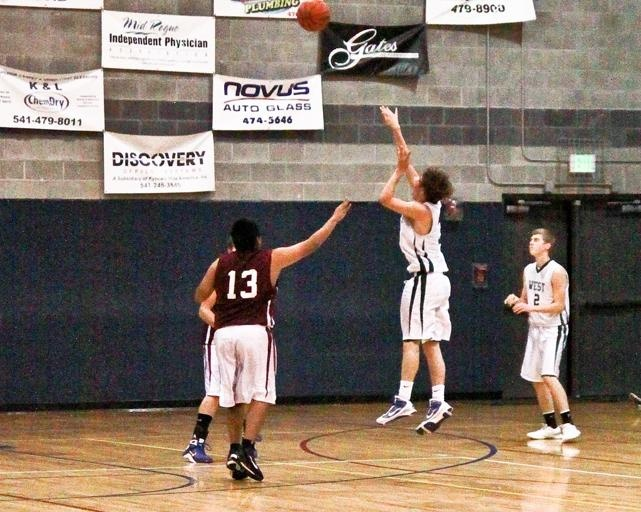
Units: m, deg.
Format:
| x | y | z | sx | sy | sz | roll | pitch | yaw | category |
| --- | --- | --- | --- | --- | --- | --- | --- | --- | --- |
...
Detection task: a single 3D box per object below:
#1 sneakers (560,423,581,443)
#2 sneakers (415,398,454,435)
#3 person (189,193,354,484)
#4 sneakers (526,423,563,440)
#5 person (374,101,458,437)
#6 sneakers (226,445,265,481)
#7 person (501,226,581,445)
| x | y | z | sx | sy | sz | roll | pitch | yaw | category |
| --- | --- | --- | --- | --- | --- | --- | --- | --- | --- |
| 2.612 | 1.838 | 12.403 | 0.180 | 0.187 | 0.316 | -2 | 0 | 11 | sneakers |
| 1.226 | 1.737 | 12.686 | 0.151 | 0.425 | 0.285 | 38 | 10 | -35 | sneakers |
| -0.566 | 0.832 | 10.503 | 1.024 | 2.377 | 0.369 | -2 | 0 | -7 | person |
| 2.386 | 1.888 | 12.632 | 0.388 | 0.185 | 0.144 | 1 | -5 | -10 | sneakers |
| 0.965 | 0.116 | 11.890 | 0.778 | 3.088 | 0.667 | -2 | 0 | 2 | person |
| -0.666 | 1.852 | 10.516 | 0.106 | 0.217 | 0.319 | -25 | -52 | 33 | sneakers |
| 2.377 | 0.829 | 12.569 | 0.661 | 2.066 | 0.956 | -2 | 0 | 11 | person |
